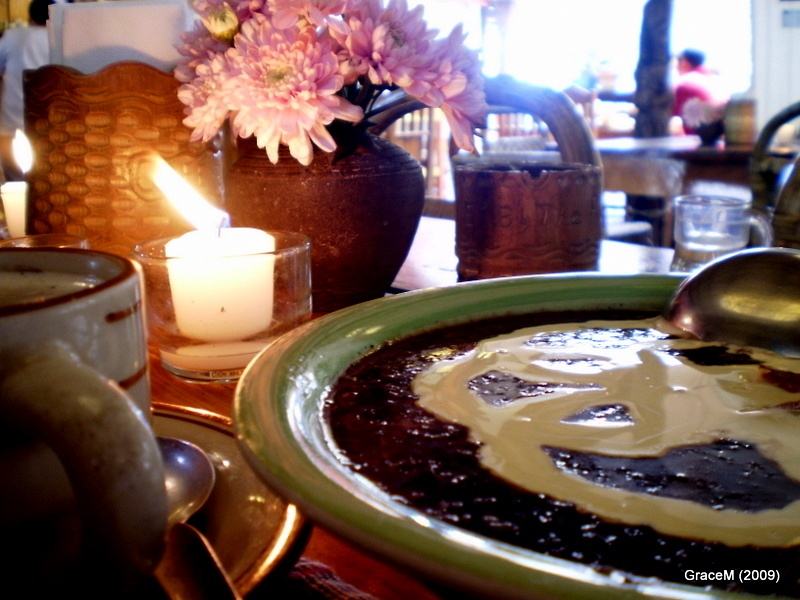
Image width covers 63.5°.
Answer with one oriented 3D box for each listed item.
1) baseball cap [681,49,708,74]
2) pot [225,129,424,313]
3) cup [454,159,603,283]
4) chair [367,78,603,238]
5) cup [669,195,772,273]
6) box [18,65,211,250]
[{"bbox_3d":[2.644,-2.190,5.995,0.276,0.225,0.258,-15,20,-29],"label":"baseball cap"},{"bbox_3d":[-0.075,-0.129,0.866,0.233,0.222,0.231,2,16,-1],"label":"pot"},{"bbox_3d":[0.168,-0.110,0.893,0.183,0.116,0.175,-1,10,0],"label":"cup"},{"bbox_3d":[0.105,-0.214,1.005,0.275,0.299,0.328,6,22,21],"label":"chair"},{"bbox_3d":[0.483,-0.084,0.962,0.163,0.133,0.094,-1,21,1],"label":"cup"},{"bbox_3d":[-0.348,-0.197,0.958,0.293,0.236,0.243,2,9,-30],"label":"box"}]
